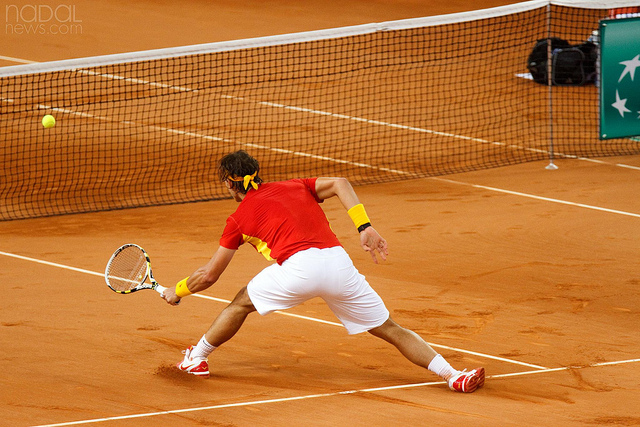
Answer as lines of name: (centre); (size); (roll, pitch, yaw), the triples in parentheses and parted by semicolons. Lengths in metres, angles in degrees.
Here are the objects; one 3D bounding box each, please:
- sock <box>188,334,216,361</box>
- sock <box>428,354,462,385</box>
sock: (-1.110, 1.287, 6.257); (0.128, 0.144, 0.368); (33, -39, -23)
sock: (1.129, 1.441, 6.099); (0.312, 0.172, 0.147); (34, -8, 20)
